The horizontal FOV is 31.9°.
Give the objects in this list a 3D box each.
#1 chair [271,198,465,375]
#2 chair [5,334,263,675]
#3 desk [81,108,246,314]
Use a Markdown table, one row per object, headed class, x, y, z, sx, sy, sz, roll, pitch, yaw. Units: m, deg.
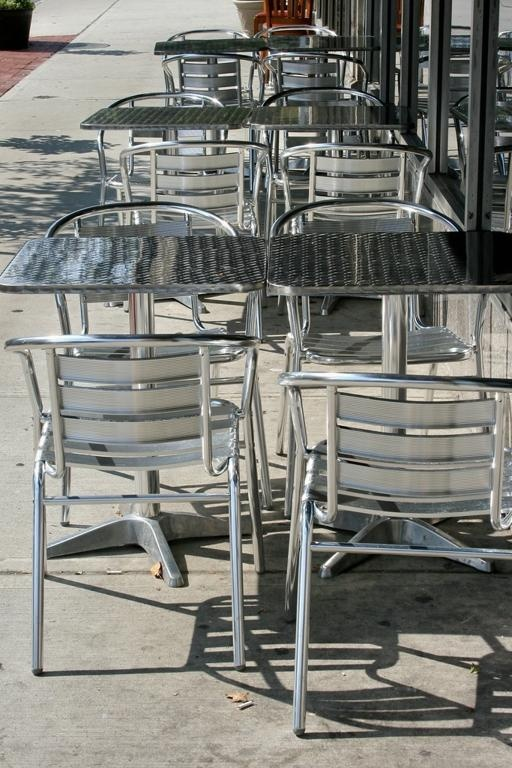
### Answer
| class | x | y | z | sx | sy | sz | roll | pitch | yaw |
| --- | --- | --- | --- | --- | --- | --- | --- | --- | --- |
| chair | 0.366 | -0.254 | 2.866 | 0.754 | 0.531 | 0.637 | -1 | 13 | -2 |
| chair | -0.260 | 0.184 | 2.141 | 0.559 | 0.756 | 0.807 | -5 | 15 | -1 |
| desk | -0.378 | -1.016 | 4.615 | 0.989 | 0.666 | 0.901 | -9 | 20 | 3 |
